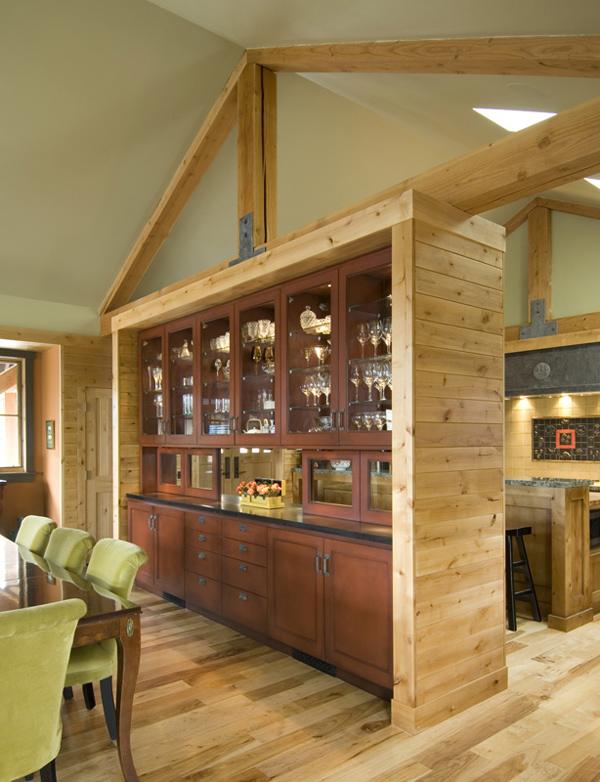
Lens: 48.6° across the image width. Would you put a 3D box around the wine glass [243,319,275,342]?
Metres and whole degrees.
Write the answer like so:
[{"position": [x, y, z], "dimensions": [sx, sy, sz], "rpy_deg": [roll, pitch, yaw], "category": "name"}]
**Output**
[{"position": [-0.257, -0.388, 4.254], "dimensions": [0.127, 0.082, 0.189], "rpy_deg": [2, -1, -30], "category": "wine glass"}]
